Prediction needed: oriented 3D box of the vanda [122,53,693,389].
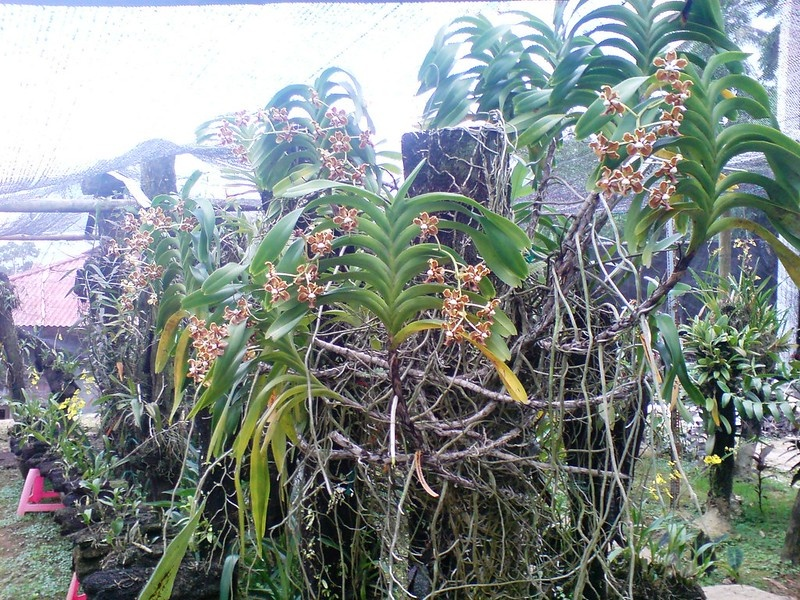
[{"bbox_3d":[-0.103,-0.203,2.408,2.125,1.227,0.760,-4,-11,27],"label":"vanda"}]
